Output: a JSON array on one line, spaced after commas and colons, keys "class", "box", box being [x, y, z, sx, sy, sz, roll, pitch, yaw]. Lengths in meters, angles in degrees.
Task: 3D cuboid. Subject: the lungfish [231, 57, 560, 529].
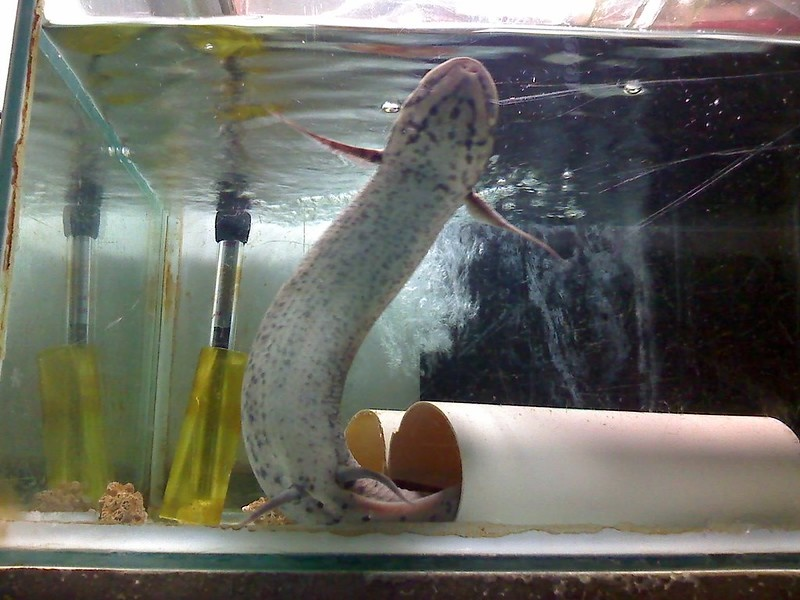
[{"class": "lungfish", "box": [-0.040, -0.029, 1.872, 0.565, 0.988, 0.334, 4, 5, -8]}]
